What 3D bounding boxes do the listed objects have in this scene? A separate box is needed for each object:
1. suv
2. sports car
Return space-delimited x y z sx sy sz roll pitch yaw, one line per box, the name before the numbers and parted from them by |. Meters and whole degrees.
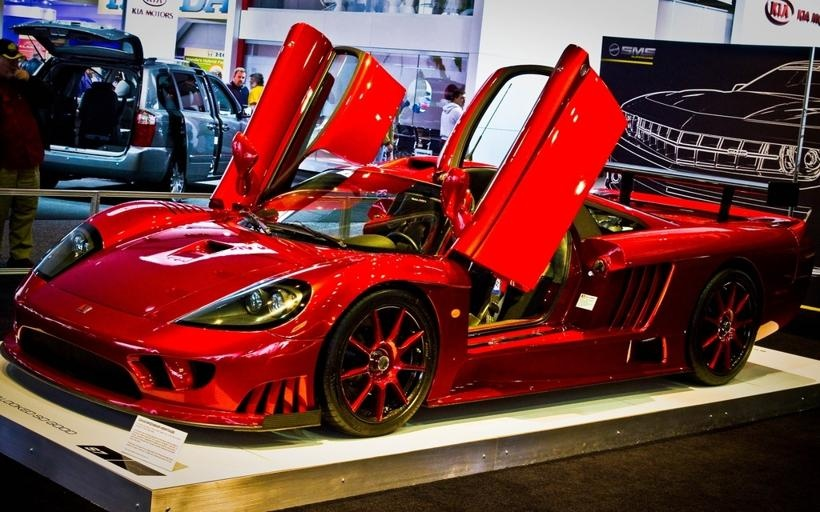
suv | -4.327 -2.499 10.039 2.622 2.135 4.731 5 12 23
sports car | 0.330 -0.329 4.195 5.378 2.174 2.660 -1 9 -31
